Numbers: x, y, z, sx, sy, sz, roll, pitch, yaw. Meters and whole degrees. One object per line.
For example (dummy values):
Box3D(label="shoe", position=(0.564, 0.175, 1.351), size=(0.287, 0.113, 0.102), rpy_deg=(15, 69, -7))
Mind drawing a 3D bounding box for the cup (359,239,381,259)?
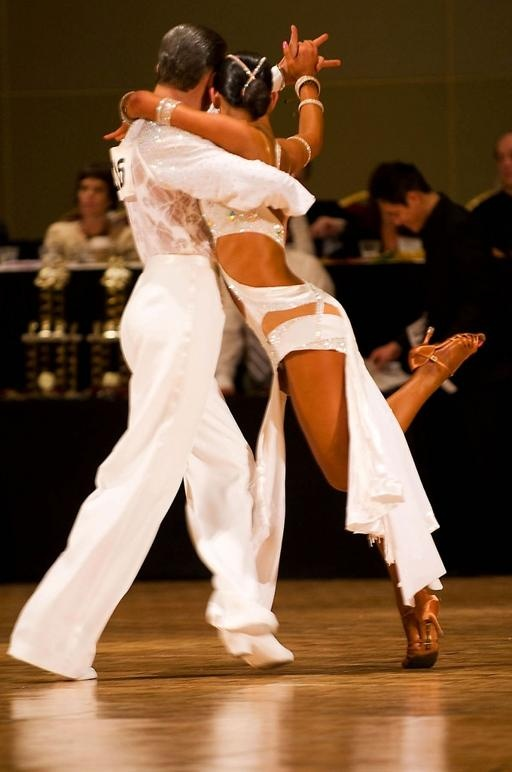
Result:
Box3D(label="cup", position=(0.537, -0.640, 3.903), size=(0.132, 0.103, 0.081), rpy_deg=(0, -11, 10))

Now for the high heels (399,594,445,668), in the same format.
Box3D(label="high heels", position=(0.328, 0.492, 1.649), size=(0.080, 0.185, 0.141), rpy_deg=(2, 11, 11))

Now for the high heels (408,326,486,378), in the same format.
Box3D(label="high heels", position=(0.415, -0.087, 1.800), size=(0.185, 0.082, 0.069), rpy_deg=(-27, 20, -18))

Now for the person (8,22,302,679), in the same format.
Box3D(label="person", position=(-0.155, -0.075, 1.590), size=(0.496, 1.237, 0.572), rpy_deg=(1, 12, 9))
